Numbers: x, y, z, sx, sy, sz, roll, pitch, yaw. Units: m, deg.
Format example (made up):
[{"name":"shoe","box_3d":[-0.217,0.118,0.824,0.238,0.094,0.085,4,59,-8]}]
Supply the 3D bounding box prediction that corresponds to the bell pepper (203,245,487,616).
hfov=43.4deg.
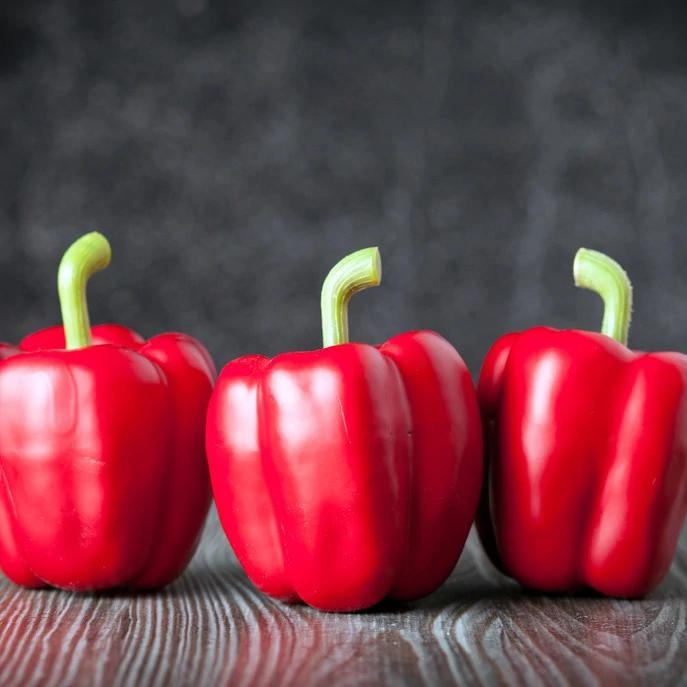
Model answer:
[{"name":"bell pepper","box_3d":[-0.004,0.124,1.163,0.322,0.442,0.331,-4,-3,-39]}]
